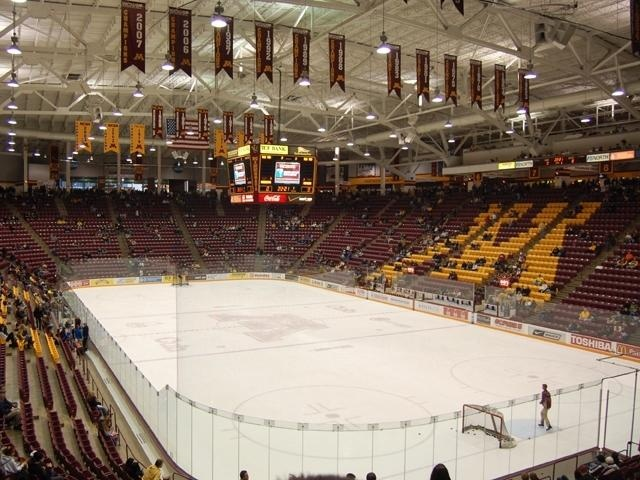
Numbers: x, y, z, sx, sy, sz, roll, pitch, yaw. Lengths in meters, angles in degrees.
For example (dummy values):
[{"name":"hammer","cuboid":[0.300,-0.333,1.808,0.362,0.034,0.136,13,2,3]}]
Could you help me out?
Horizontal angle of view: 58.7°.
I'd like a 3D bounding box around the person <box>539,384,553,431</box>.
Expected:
[{"name":"person","cuboid":[7.134,5.288,17.884,0.416,1.187,0.944,5,8,22]}]
